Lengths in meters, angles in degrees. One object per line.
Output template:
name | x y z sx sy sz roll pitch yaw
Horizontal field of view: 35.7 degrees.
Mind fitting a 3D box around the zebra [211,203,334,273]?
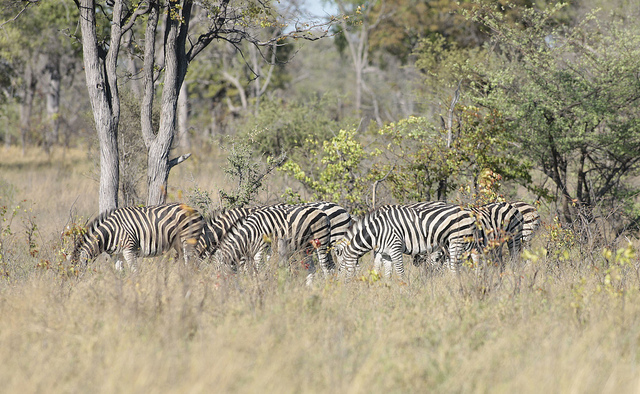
zebra | -1.301 1.087 26.686 3.899 2.445 1.321 -2 -9 -5
